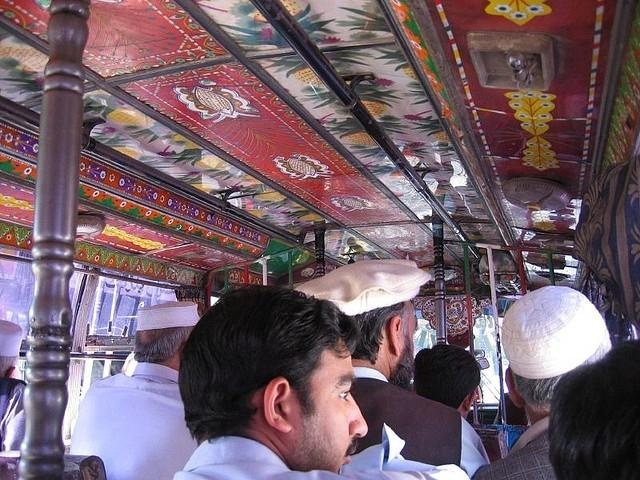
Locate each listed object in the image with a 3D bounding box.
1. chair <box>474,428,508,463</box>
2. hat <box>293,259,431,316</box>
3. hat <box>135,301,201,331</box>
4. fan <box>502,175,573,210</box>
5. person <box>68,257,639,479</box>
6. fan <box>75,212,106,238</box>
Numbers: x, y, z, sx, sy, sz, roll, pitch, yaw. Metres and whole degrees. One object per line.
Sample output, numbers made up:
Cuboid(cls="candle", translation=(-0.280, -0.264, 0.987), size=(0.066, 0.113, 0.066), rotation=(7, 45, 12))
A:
Cuboid(cls="chair", translation=(2.089, 2.364, 4.989), size=(0.263, 0.331, 0.251), rotation=(5, -12, -20))
Cuboid(cls="hat", translation=(0.217, 0.197, 1.892), size=(0.389, 0.093, 0.341), rotation=(-10, -4, -13))
Cuboid(cls="hat", translation=(-1.207, 0.579, 3.539), size=(0.447, 0.123, 0.455), rotation=(-2, -7, 22))
Cuboid(cls="fan", translation=(2.661, -0.501, 5.237), size=(0.784, 0.255, 0.810), rotation=(-1, -20, 43))
Cuboid(cls="person", translation=(0.617, 0.613, 2.075), size=(1.473, 0.976, 0.633), rotation=(1, -17, -8))
Cuboid(cls="fan", translation=(-3.381, -0.257, 6.222), size=(0.329, 0.275, 0.323), rotation=(4, -17, -19))
